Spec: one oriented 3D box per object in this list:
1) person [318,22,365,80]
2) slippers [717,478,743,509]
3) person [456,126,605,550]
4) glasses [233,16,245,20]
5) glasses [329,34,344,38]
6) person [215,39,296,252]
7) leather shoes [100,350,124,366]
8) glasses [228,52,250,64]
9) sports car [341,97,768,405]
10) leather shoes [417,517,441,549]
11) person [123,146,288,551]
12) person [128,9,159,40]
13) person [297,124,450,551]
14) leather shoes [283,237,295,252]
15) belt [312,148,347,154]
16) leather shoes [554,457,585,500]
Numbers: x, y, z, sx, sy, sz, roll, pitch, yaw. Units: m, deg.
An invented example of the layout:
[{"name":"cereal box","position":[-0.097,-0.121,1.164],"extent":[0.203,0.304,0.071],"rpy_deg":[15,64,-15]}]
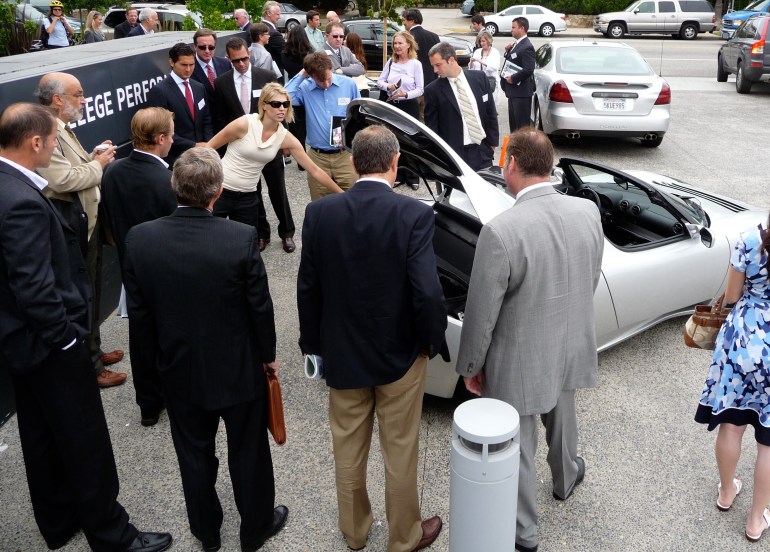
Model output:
[{"name":"person","position":[-0.688,-3.408,9.573],"extent":[0.668,1.228,0.689],"rpy_deg":[-5,12,3]},{"name":"slippers","position":[2.251,1.410,3.953],"extent":[0.114,0.117,0.300],"rpy_deg":[-9,40,44]},{"name":"person","position":[0.872,0.379,3.584],"extent":[0.611,2.348,0.939],"rpy_deg":[17,31,38]},{"name":"glasses","position":[-2.843,-5.094,11.775],"extent":[0.125,0.065,0.165],"rpy_deg":[2,5,13]},{"name":"glasses","position":[-0.734,-3.697,9.227],"extent":[0.217,0.070,0.146],"rpy_deg":[-9,26,-11]},{"name":"person","position":[-1.514,-1.509,7.279],"extent":[0.807,2.736,0.845],"rpy_deg":[-13,46,-16]},{"name":"leather shoes","position":[-2.338,0.713,5.184],"extent":[0.112,0.055,0.113],"rpy_deg":[-18,-16,-30]},{"name":"glasses","position":[-1.639,-2.483,6.812],"extent":[0.206,0.131,0.139],"rpy_deg":[-13,27,-19]},{"name":"sports car","position":[1.884,-0.630,5.569],"extent":[4.146,2.302,1.962],"rpy_deg":[-14,26,-21]},{"name":"leather shoes","position":[0.277,1.567,3.674],"extent":[0.077,0.097,0.222],"rpy_deg":[23,60,26]},{"name":"person","position":[-1.006,0.506,3.473],"extent":[0.753,2.284,0.753],"rpy_deg":[-16,27,-26]},{"name":"person","position":[-4.165,-4.495,10.559],"extent":[0.475,0.380,0.758],"rpy_deg":[-19,30,-29]},{"name":"person","position":[-0.021,0.449,3.440],"extent":[0.758,2.386,0.762],"rpy_deg":[-16,27,-27]},{"name":"leather shoes","position":[-1.123,-0.368,7.081],"extent":[0.079,0.095,0.229],"rpy_deg":[-6,26,-12]},{"name":"belt","position":[-0.590,-1.381,6.603],"extent":[0.302,0.083,0.312],"rpy_deg":[-7,17,-26]},{"name":"leather shoes","position":[1.213,1.362,4.047],"extent":[0.123,0.162,0.376],"rpy_deg":[3,41,35]}]
